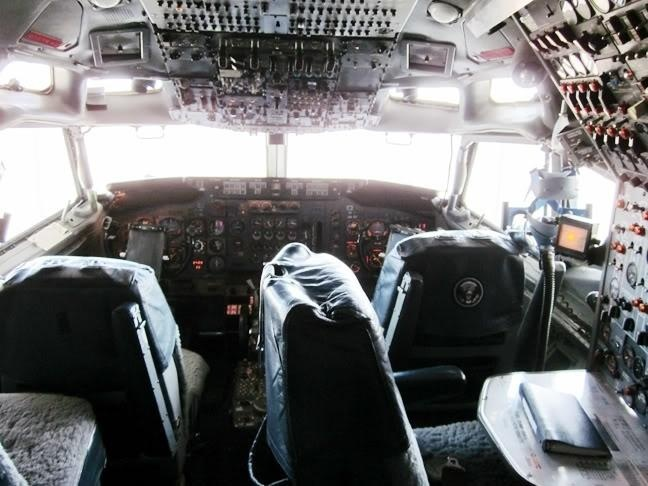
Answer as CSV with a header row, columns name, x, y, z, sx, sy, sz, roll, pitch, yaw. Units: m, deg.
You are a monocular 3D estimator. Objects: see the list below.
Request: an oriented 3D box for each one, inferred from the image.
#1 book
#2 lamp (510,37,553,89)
name,x,y,z,sx,sy,sz,roll,pitch,yaw
book,1.001,0.741,2.016,0.276,0.161,0.300,2,11,1
lamp,1.058,-0.919,2.502,0.179,0.182,0.302,6,45,0
